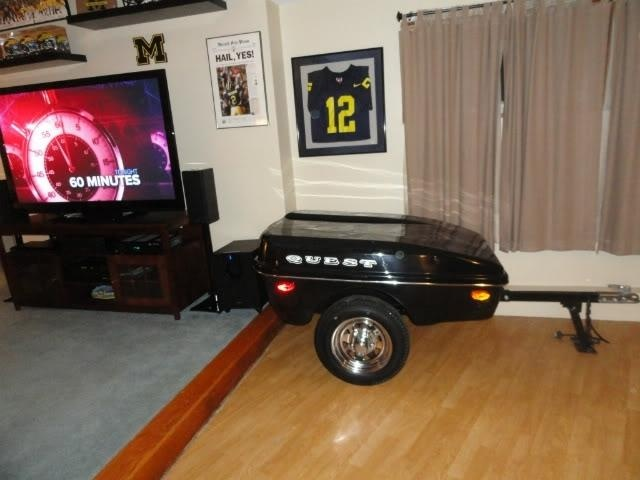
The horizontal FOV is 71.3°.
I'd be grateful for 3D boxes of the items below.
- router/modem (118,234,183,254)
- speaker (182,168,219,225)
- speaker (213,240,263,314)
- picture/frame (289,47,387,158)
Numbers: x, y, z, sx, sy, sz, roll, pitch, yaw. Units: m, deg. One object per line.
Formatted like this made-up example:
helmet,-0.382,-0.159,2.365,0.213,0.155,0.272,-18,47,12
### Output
router/modem,-1.448,0.012,3.785,0.525,0.143,0.283,-1,17,13
speaker,-0.982,-0.363,3.718,0.268,0.450,0.184,-12,18,-23
speaker,-0.667,0.326,3.750,0.409,0.534,0.181,-1,17,13
picture/frame,0.182,-1.188,3.732,0.901,0.932,0.090,-1,15,14
